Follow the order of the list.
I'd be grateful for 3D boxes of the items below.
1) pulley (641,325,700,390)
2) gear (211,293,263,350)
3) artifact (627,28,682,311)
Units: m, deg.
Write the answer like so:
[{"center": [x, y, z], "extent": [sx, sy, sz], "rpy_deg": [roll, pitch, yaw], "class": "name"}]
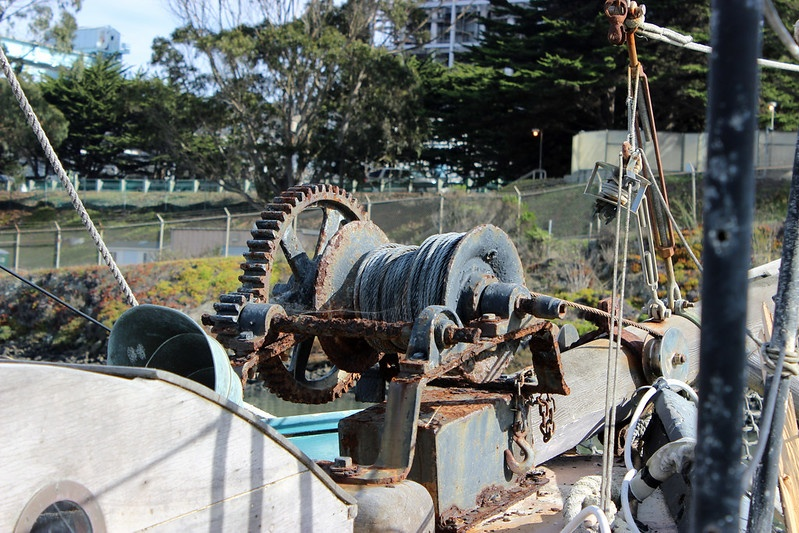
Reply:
[{"center": [5.050, 1.737, 18.546], "extent": [0.972, 1.276, 0.655], "rpy_deg": [1, -3, -37], "class": "pulley"}, {"center": [-2.865, 0.991, 17.331], "extent": [1.108, 0.906, 0.618], "rpy_deg": [3, 11, 40], "class": "gear"}, {"center": [4.828, -1.605, 18.520], "extent": [0.825, 5.358, 2.263], "rpy_deg": [0, 8, 19], "class": "artifact"}]
